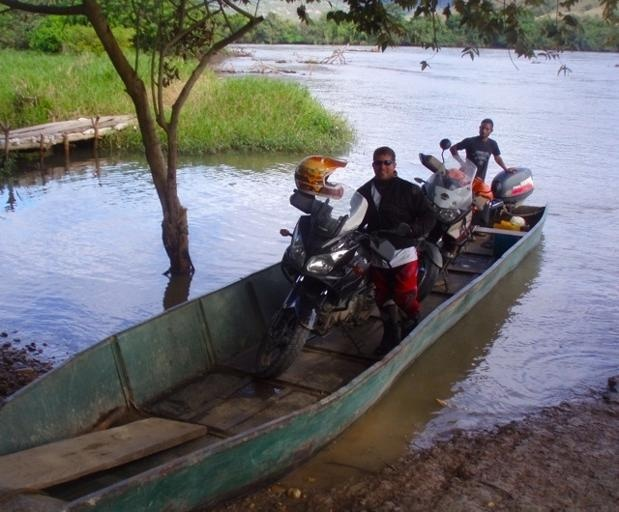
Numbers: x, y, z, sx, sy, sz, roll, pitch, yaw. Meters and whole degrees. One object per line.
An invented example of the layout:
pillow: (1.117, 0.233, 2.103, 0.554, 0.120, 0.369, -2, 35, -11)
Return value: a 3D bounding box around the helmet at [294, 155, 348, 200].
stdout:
helmet: (0.174, -0.660, 5.205, 0.442, 0.339, 0.320, 13, 3, 24)
